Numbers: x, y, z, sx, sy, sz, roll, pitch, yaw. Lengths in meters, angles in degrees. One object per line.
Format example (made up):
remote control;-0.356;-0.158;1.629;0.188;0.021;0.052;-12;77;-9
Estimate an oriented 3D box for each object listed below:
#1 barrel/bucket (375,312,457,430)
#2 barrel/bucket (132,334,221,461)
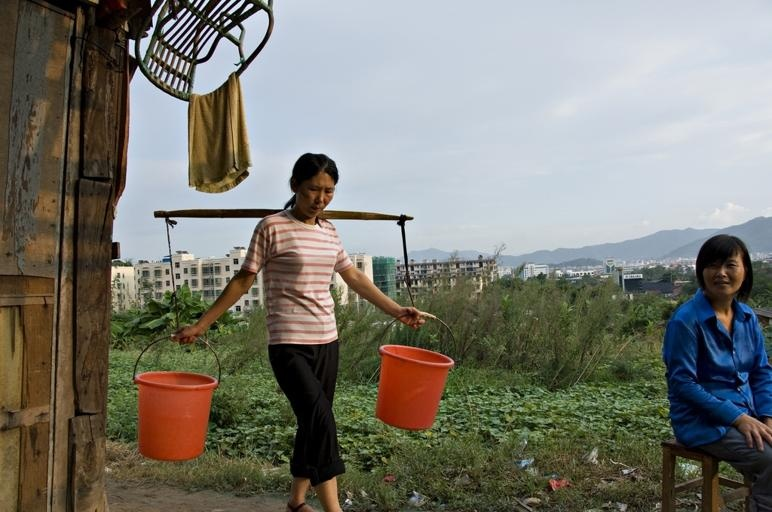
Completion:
barrel/bucket;0.228;0.828;4.559;0.677;0.871;0.581;11;0;12
barrel/bucket;-1.527;1.002;4.316;0.630;0.796;0.525;8;-5;-23
